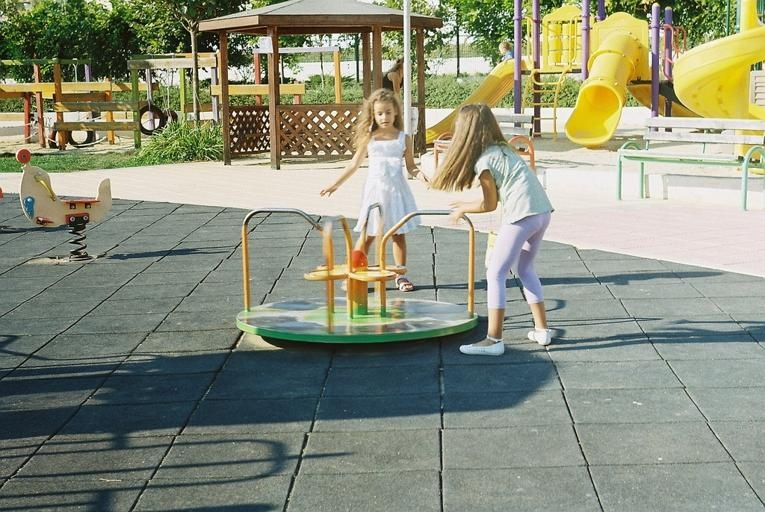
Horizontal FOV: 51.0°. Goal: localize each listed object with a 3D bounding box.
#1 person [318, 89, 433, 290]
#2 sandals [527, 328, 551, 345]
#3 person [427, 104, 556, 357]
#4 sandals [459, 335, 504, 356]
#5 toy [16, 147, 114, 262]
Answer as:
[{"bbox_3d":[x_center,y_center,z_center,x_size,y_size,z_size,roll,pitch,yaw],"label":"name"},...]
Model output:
[{"bbox_3d":[0.016,-0.598,7.427,0.765,1.861,1.170,-2,13,1],"label":"person"},{"bbox_3d":[1.215,0.612,6.125,0.087,0.077,0.215,-3,7,-16],"label":"sandals"},{"bbox_3d":[0.841,-0.199,5.898,0.850,1.812,0.523,1,14,10],"label":"person"},{"bbox_3d":[0.754,0.665,5.947,0.312,0.100,0.139,1,1,11],"label":"sandals"},{"bbox_3d":[-3.583,-0.633,9.212,0.897,1.210,1.255,-8,14,-25],"label":"toy"}]
